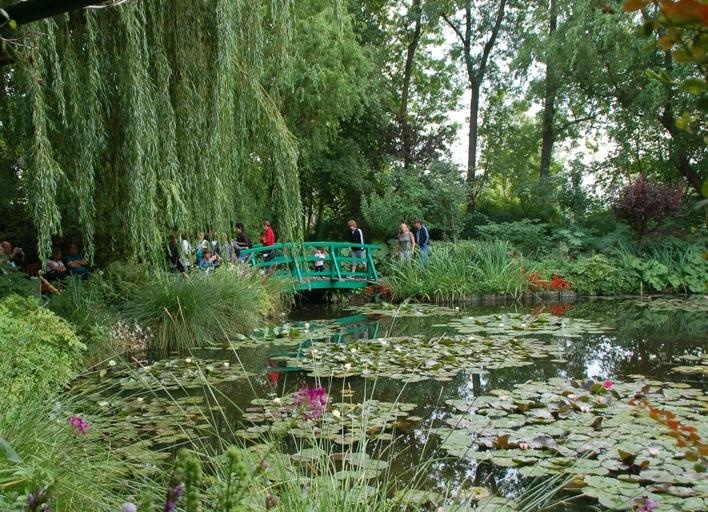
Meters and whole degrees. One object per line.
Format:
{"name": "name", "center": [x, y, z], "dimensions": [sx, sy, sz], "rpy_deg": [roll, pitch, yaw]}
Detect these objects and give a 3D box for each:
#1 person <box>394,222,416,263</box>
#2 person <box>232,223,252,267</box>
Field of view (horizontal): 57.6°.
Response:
{"name": "person", "center": [1.175, -0.289, 14.462], "dimensions": [0.392, 0.652, 0.992], "rpy_deg": [-1, -2, 5]}
{"name": "person", "center": [-2.373, -0.223, 13.398], "dimensions": [0.411, 0.825, 0.333], "rpy_deg": [3, 0, -31]}
